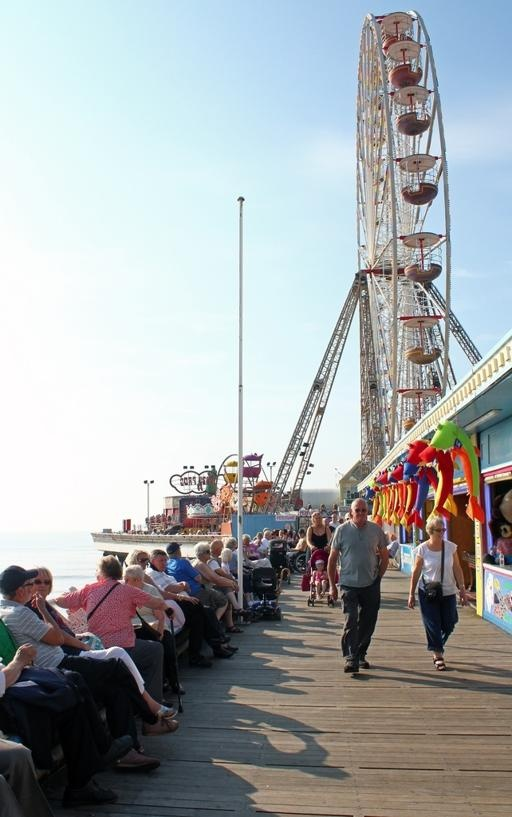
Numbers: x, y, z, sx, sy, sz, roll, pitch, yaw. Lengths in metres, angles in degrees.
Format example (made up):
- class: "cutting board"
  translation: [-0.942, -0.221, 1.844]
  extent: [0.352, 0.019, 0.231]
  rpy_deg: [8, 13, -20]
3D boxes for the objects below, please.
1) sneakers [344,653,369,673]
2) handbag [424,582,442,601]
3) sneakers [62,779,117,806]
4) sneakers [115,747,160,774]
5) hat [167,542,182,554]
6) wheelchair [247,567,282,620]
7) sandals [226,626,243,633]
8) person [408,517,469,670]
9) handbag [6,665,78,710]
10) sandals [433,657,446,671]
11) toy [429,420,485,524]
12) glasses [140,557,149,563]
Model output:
- class: "sneakers"
  translation: [0.927, 2.360, 7.140]
  extent: [0.110, 0.160, 0.358]
  rpy_deg: [-10, -28, 14]
- class: "handbag"
  translation: [1.628, 1.678, 7.189]
  extent: [0.172, 0.171, 0.155]
  rpy_deg: [-17, -33, 31]
- class: "sneakers"
  translation: [-0.850, 1.936, 3.939]
  extent: [0.293, 0.202, 0.113]
  rpy_deg: [3, -21, -8]
- class: "sneakers"
  translation: [-0.670, 2.021, 4.465]
  extent: [0.276, 0.126, 0.108]
  rpy_deg: [-1, -15, 5]
- class: "hat"
  translation: [-0.931, 1.549, 8.774]
  extent: [0.131, 0.102, 0.183]
  rpy_deg: [-2, 25, 7]
- class: "wheelchair"
  translation: [0.146, 2.698, 11.685]
  extent: [0.491, 0.682, 0.440]
  rpy_deg: [18, -14, -17]
- class: "sandals"
  translation: [-0.280, 2.795, 9.887]
  extent: [0.257, 0.111, 0.088]
  rpy_deg: [0, -2, -2]
- class: "person"
  translation: [1.723, 1.715, 7.336]
  extent: [0.514, 1.390, 0.757]
  rpy_deg: [-1, -7, 20]
- class: "handbag"
  translation: [-1.068, 1.410, 3.902]
  extent: [0.210, 0.093, 0.215]
  rpy_deg: [5, -7, 0]
- class: "sandals"
  translation: [1.702, 2.363, 7.213]
  extent: [0.083, 0.069, 0.252]
  rpy_deg: [-4, -13, 7]
- class: "toy"
  translation: [2.385, 0.724, 9.261]
  extent: [0.413, 1.110, 1.060]
  rpy_deg: [-3, -8, 32]
- class: "glasses"
  translation: [-1.047, 1.404, 7.228]
  extent: [0.077, 0.025, 0.077]
  rpy_deg: [-14, -9, 7]
